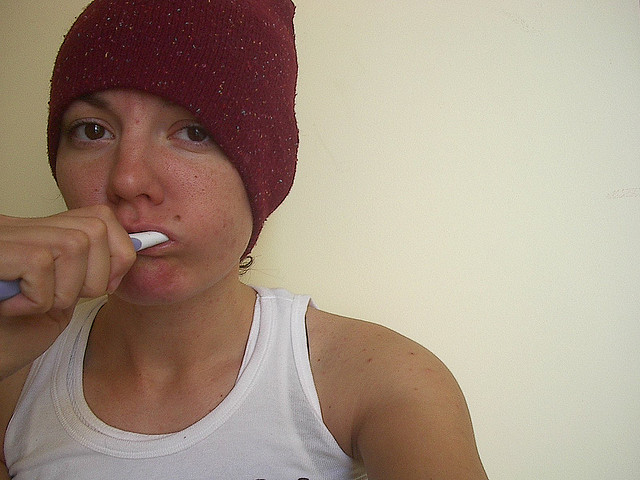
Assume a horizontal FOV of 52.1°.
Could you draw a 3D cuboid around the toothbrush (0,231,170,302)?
[{"bbox_3d":[-0.426,0.041,1.212,0.304,0.121,0.088,-2,-5,-24],"label":"toothbrush"}]
